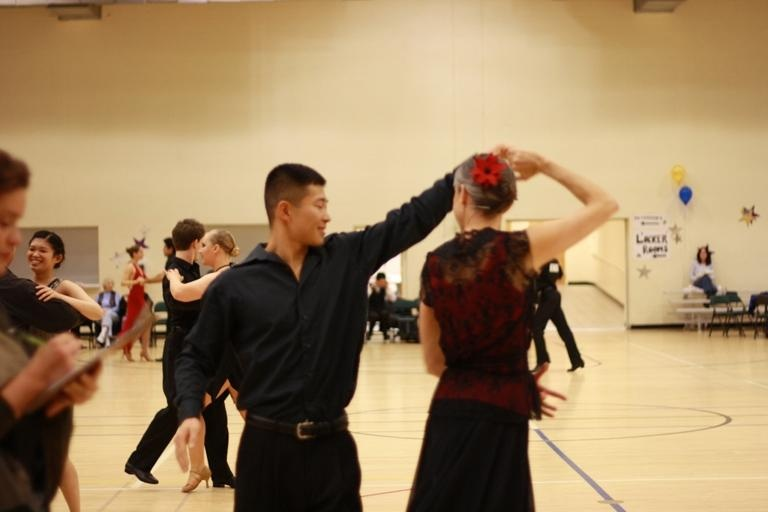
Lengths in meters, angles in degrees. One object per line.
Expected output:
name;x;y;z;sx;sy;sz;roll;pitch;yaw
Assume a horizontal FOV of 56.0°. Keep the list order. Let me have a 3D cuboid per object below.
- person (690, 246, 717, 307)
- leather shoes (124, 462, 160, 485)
person;7.720;0.360;17.313;0.599;1.282;0.773;0;-1;25
leather shoes;-2.224;1.975;6.583;0.270;0.109;0.099;30;10;-11
